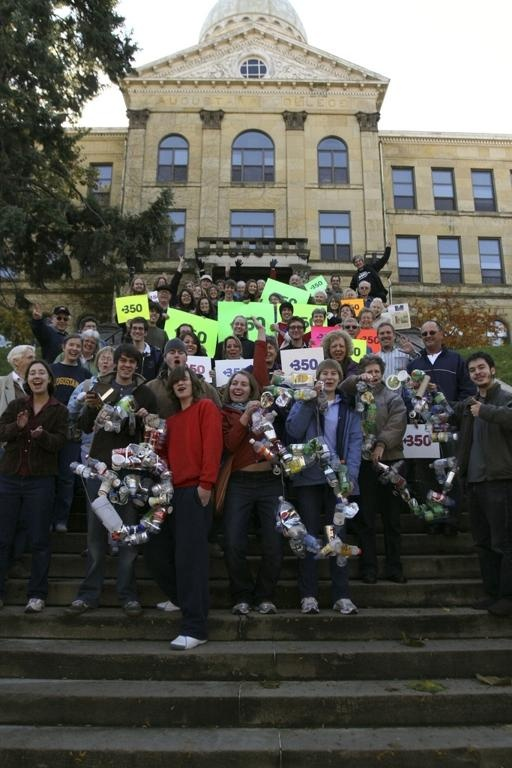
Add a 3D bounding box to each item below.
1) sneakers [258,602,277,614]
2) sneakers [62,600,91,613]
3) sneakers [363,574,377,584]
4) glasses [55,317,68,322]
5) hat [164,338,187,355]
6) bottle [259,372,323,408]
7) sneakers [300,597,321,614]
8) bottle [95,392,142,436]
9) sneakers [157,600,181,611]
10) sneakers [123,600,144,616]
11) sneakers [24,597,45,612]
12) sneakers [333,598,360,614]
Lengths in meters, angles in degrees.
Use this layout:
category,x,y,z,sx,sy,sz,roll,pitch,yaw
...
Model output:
category,x,y,z,sx,sy,sz,roll,pitch,yaw
sneakers,0.081,1.746,5.295,0.099,0.047,0.143,1,-2,-1
sneakers,-1.383,1.734,5.282,0.194,0.091,0.129,3,-5,-15
sneakers,0.978,1.677,5.844,0.110,0.049,0.135,2,-5,3
glasses,-2.356,-0.782,8.239,0.084,0.048,0.106,3,0,-15
hat,-0.768,-0.368,6.579,0.147,0.129,0.202,2,-9,-17
bottle,0.253,0.059,5.654,0.436,0.198,0.276,4,-6,-38
sneakers,0.422,1.741,5.341,0.103,0.082,0.196,1,-19,-2
bottle,-1.124,0.249,5.544,0.382,0.243,0.178,-13,-15,35
sneakers,-0.704,1.790,5.483,0.148,0.059,0.077,-3,-6,26
sneakers,-0.951,1.724,5.229,0.142,0.093,0.166,3,-5,-13
sneakers,-1.740,1.740,5.337,0.138,0.097,0.222,4,-5,-18
sneakers,0.703,1.747,5.336,0.157,0.102,0.192,3,-5,-4
